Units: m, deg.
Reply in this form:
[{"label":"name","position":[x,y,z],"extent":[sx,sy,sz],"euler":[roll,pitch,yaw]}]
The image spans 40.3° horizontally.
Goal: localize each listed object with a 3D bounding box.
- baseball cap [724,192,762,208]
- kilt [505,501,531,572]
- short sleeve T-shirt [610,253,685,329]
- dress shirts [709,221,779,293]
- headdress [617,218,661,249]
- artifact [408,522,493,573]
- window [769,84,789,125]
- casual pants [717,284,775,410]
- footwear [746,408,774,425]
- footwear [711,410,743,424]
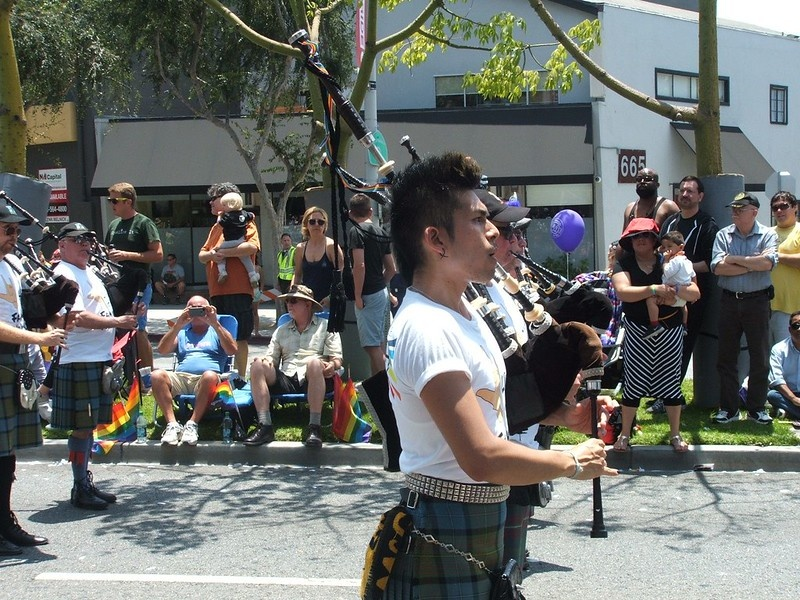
[{"label":"baseball cap","position":[3.935,-1.157,12.351],"extent":[0.338,0.140,0.204],"euler":[-6,5,-11]},{"label":"kilt","position":[0.839,1.694,7.828],"extent":[0.163,0.535,0.519],"euler":[-1,-2,16]},{"label":"short sleeve T-shirt","position":[2.663,-0.099,11.606],"extent":[0.727,0.650,0.380],"euler":[-17,4,-12]},{"label":"dress shirts","position":[3.891,-0.489,12.361],"extent":[0.846,0.894,0.527],"euler":[-1,-6,29]},{"label":"headdress","position":[2.584,-0.770,11.777],"extent":[0.336,0.168,0.400],"euler":[-7,-15,20]},{"label":"artifact","position":[0.284,1.532,6.703],"extent":[0.567,0.075,0.061],"euler":[26,16,-5]},{"label":"window","position":[10.472,-5.440,30.222],"extent":[0.098,1.063,0.591],"euler":[-17,22,-25]},{"label":"casual pants","position":[3.945,0.594,12.546],"extent":[0.626,1.541,0.456],"euler":[0,0,29]},{"label":"footwear","position":[4.033,1.326,12.247],"extent":[0.112,0.112,0.293],"euler":[-1,-1,-32]},{"label":"footwear","position":[3.672,1.342,12.311],"extent":[0.363,0.141,0.121],"euler":[1,0,-19]}]
